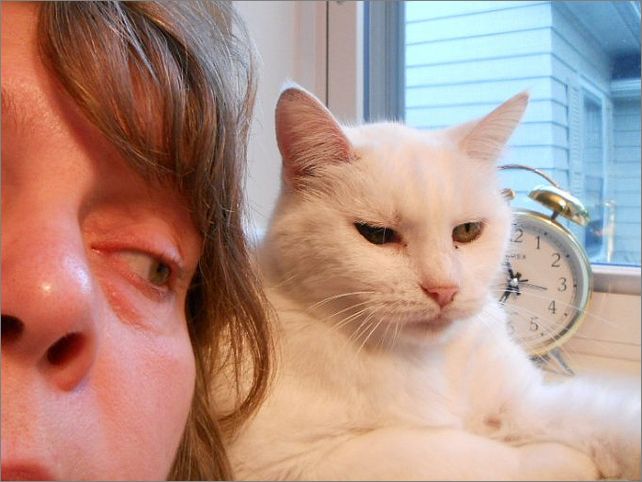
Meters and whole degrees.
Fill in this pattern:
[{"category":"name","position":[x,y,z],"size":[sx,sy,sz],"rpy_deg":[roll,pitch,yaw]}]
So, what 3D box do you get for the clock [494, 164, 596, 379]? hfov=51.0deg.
[{"category":"clock","position":[0.385,0.056,1.292],"size":[0.248,0.436,0.096],"rpy_deg":[-1,21,8]}]
